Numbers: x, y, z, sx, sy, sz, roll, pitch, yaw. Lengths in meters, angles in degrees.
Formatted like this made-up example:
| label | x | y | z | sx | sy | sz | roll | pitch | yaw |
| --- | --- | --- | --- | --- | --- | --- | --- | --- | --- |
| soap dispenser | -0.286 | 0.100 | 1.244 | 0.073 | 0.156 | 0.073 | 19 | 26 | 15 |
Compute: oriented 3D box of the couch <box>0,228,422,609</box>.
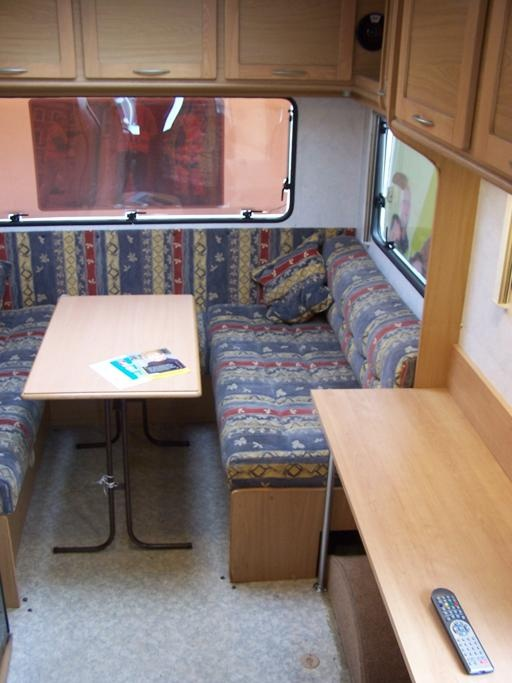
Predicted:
| label | x | y | z | sx | sy | sz | roll | pitch | yaw |
| --- | --- | --- | --- | --- | --- | --- | --- | --- | --- |
| couch | 0.175 | 0.274 | 3.019 | 1.779 | 0.811 | 1.945 | -2 | 25 | -7 |
